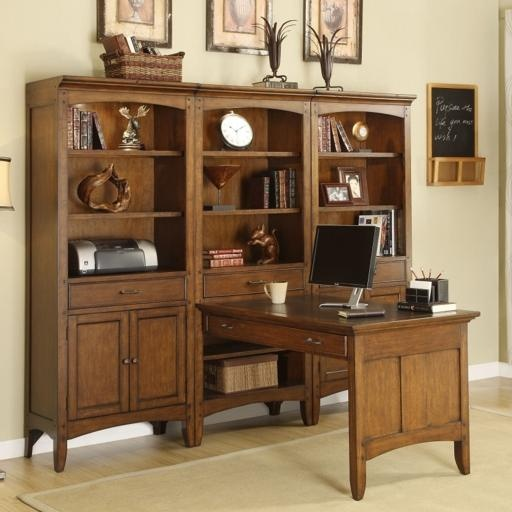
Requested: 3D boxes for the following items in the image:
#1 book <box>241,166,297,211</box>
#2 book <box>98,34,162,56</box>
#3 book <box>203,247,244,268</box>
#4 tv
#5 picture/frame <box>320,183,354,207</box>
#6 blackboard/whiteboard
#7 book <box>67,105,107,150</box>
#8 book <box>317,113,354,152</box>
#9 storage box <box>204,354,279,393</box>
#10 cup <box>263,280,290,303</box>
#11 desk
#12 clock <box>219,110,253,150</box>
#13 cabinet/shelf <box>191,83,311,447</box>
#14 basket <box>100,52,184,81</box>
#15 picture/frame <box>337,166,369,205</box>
[{"bbox_3d":[0.095,-0.405,3.739,0.419,0.333,0.272,0,0,1],"label":"book"},{"bbox_3d":[-0.656,-1.119,3.088,0.203,0.080,0.261,8,12,43],"label":"book"},{"bbox_3d":[-0.180,0.011,3.431,0.174,0.118,0.273,-3,-2,36],"label":"book"},{"bbox_3d":[0.472,0.051,2.902,0.212,0.407,0.459,1,1,-29],"label":"tv"},{"bbox_3d":[0.541,-0.414,3.851,0.202,0.121,0.014,-4,-8,-34],"label":"picture/frame"},{"bbox_3d":[1.569,-1.104,4.585,0.728,0.743,0.057,-1,1,-29],"label":"blackboard/whiteboard"},{"bbox_3d":[-0.870,-0.637,2.907,0.075,0.212,0.232,-2,-2,19],"label":"book"},{"bbox_3d":[0.517,-0.812,3.807,0.340,0.256,0.099,1,-3,-41],"label":"book"},{"bbox_3d":[-0.156,0.735,3.573,0.355,0.196,0.476,-10,-10,38],"label":"storage box"},{"bbox_3d":[0.125,0.201,3.198,0.102,0.096,0.146,1,-3,-26],"label":"cup"},{"bbox_3d":[0.454,0.645,2.846,0.802,0.801,0.971,0,-3,-35],"label":"desk"},{"bbox_3d":[-0.135,-0.759,3.497,0.198,0.222,0.060,-12,-3,-37],"label":"clock"},{"bbox_3d":[-0.029,-0.023,3.511,0.858,1.892,0.412,0,-3,-5],"label":"cabinet/shelf"},{"bbox_3d":[-0.601,-0.967,3.043,0.261,0.106,0.299,-3,7,-30],"label":"basket"},{"bbox_3d":[0.686,-0.503,4.042,0.200,0.201,0.020,1,8,26],"label":"picture/frame"}]
